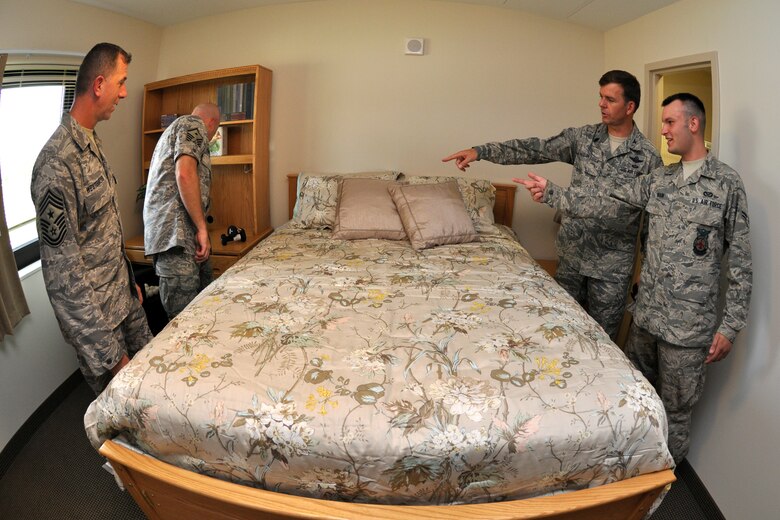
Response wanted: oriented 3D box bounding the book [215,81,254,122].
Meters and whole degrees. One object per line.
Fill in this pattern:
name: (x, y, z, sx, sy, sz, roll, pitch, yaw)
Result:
book: (-1.379, -1.399, 4.127, 0.388, 0.318, 0.153, 9, 16, 24)
